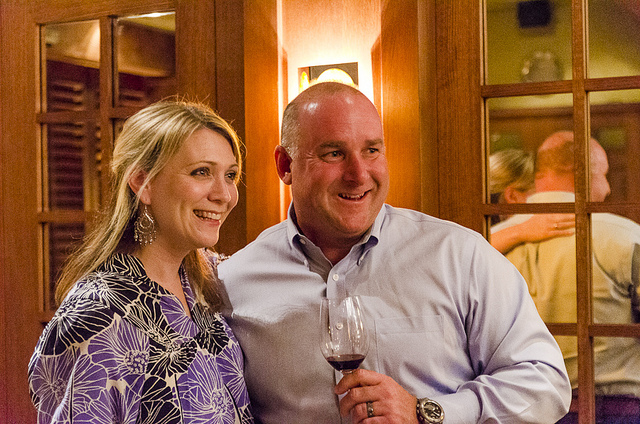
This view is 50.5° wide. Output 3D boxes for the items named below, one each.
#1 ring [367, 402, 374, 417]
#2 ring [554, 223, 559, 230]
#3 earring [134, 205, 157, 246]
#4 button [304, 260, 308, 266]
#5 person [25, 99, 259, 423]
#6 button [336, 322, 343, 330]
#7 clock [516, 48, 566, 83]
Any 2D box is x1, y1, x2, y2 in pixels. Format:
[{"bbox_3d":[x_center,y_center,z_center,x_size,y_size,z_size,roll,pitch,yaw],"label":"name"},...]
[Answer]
[{"bbox_3d":[0.175,0.714,2.438,0.014,0.041,0.040,-4,18,-18],"label":"ring"},{"bbox_3d":[1.103,0.069,3.205,0.008,0.022,0.022,-17,-18,-36],"label":"ring"},{"bbox_3d":[-0.683,0.050,2.658,0.085,0.184,0.019,0,30,-14],"label":"earring"},{"bbox_3d":[-0.064,0.212,2.804,0.018,0.017,0.004,-9,-6,-32],"label":"button"},{"bbox_3d":[-0.661,0.208,2.655,0.858,1.302,0.374,1,-5,-23],"label":"person"},{"bbox_3d":[0.065,0.404,2.388,0.022,0.022,0.008,1,-9,6],"label":"button"},{"bbox_3d":[1.047,-0.700,3.220,0.178,0.180,0.043,5,1,29],"label":"clock"}]
